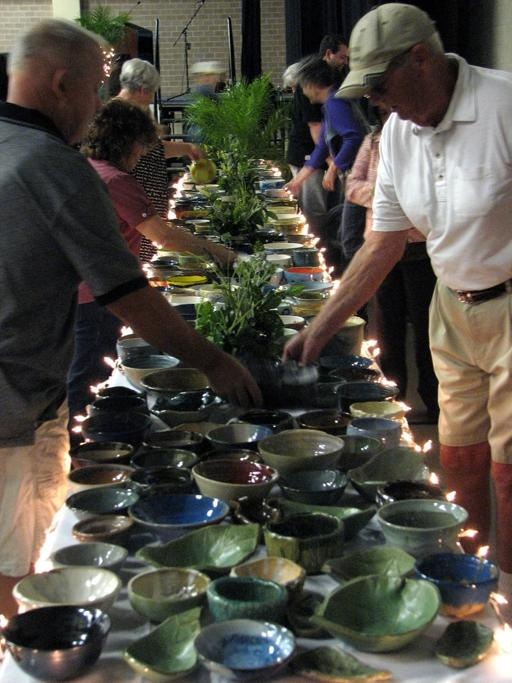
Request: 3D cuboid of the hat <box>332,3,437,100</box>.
[{"bbox_3d":[0.304,-0.713,1.536,0.299,0.153,0.184,-36,29,-9],"label":"hat"}]
